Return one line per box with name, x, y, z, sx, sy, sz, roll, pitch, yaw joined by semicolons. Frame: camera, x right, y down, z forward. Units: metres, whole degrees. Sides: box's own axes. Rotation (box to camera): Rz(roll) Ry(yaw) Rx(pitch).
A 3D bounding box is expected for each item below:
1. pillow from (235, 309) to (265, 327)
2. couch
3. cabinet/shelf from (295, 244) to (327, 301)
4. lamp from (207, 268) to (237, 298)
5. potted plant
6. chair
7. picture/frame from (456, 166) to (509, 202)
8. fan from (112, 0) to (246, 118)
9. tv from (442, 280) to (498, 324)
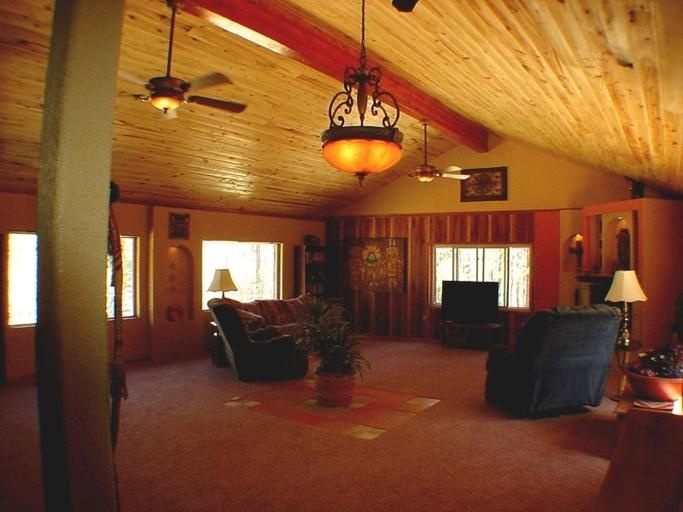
pillow;-1.204;0.819;6.831;0.252;0.219;0.334;-5;8;-43
couch;2.289;1.054;5.582;1.138;1.247;1.192;1;-5;-24
cabinet/shelf;-0.573;0.373;10.178;0.484;0.902;0.289;1;-5;-37
lamp;-1.826;0.388;7.889;0.465;0.515;0.474;-3;4;-31
potted plant;-0.075;1.087;5.664;0.738;1.019;0.699;-5;-7;34
chair;-1.111;1.103;7.049;1.258;1.061;1.310;-8;-6;0
picture/frame;2.598;-1.311;9.404;0.842;0.585;0.062;-1;3;1
fan;-1.230;-1.604;4.175;0.860;0.991;1.243;0;1;-11
tv;2.225;0.784;8.966;1.056;0.698;0.101;4;-7;-9
